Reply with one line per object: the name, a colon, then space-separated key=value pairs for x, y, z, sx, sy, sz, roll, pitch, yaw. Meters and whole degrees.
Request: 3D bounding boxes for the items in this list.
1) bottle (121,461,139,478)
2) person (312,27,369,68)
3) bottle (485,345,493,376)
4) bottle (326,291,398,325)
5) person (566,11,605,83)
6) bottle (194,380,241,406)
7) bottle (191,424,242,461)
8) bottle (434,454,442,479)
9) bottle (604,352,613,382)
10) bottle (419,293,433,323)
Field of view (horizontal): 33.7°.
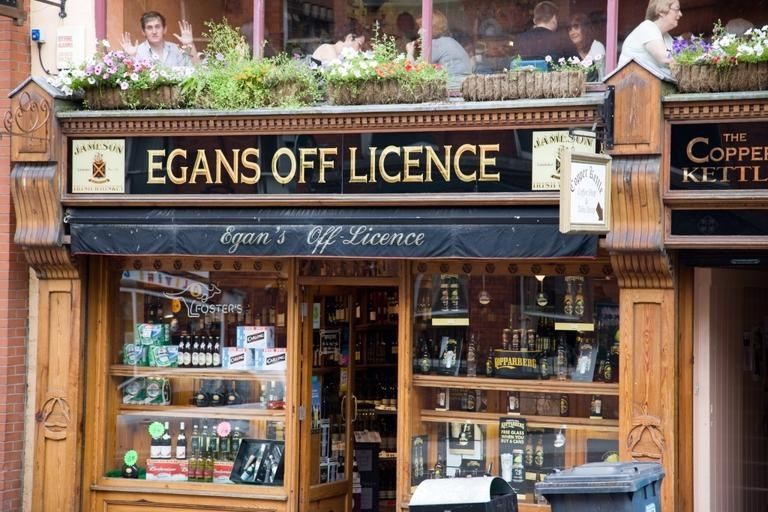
bottle: x=-3.390 y=2.847 z=16.876 sx=0.245 sy=0.291 sz=0.144 roll=0 pitch=-10 yaw=1
person: x=-0.616 y=-2.748 z=16.583 sx=0.694 sy=0.445 sz=0.283 roll=-23 pitch=-34 yaw=-1
bottle: x=1.344 y=1.361 z=16.238 sx=0.105 sy=0.361 sz=0.067 roll=-1 pitch=-6 yaw=2
bottle: x=-0.363 y=0.722 z=17.660 sx=0.250 sy=0.480 sz=0.838 roll=4 pitch=3 yaw=40
person: x=2.614 y=-2.506 z=16.282 sx=0.438 sy=1.119 sz=0.407 roll=-11 pitch=5 yaw=15
bottle: x=-2.256 y=1.854 z=16.708 sx=0.578 sy=0.332 sz=0.401 roll=1 pitch=4 yaw=4
bottle: x=-2.220 y=2.484 z=16.861 sx=0.431 sy=0.440 sz=0.160 roll=1 pitch=-4 yaw=5
bottle: x=0.684 y=2.688 z=16.219 sx=0.118 sy=0.232 sz=0.060 roll=-1 pitch=-6 yaw=2
bottle: x=2.794 y=1.389 z=15.804 sx=0.111 sy=0.333 sz=0.080 roll=-3 pitch=-6 yaw=17
bottle: x=0.513 y=0.652 z=16.284 sx=0.192 sy=0.372 sz=0.043 roll=-1 pitch=-6 yaw=-4
